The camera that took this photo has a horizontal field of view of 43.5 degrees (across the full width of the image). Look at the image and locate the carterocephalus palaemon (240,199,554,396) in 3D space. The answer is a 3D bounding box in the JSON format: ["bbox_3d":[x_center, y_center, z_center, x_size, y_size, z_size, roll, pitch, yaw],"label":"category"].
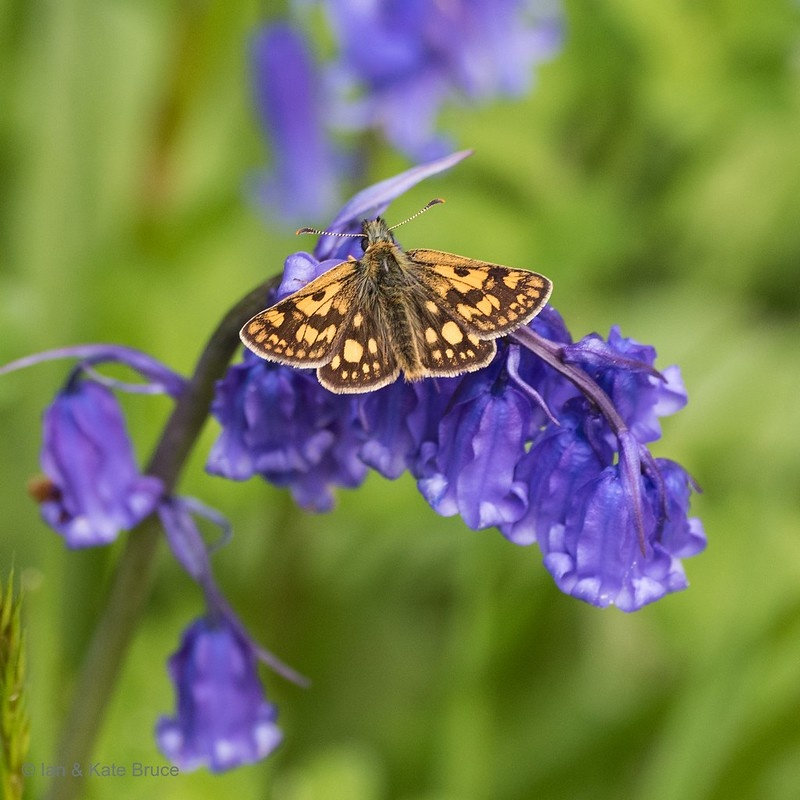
[{"bbox_3d":[-0.006,-0.111,1.178,0.366,0.107,0.340,-4,-42,0],"label":"carterocephalus palaemon"}]

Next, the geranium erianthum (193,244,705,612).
[{"bbox_3d":[0.059,0.045,1.225,0.615,0.337,0.359,6,-20,20],"label":"geranium erianthum"}]

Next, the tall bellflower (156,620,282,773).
[{"bbox_3d":[-0.218,0.367,1.234,0.149,0.174,0.056,13,-17,-5],"label":"tall bellflower"}]
